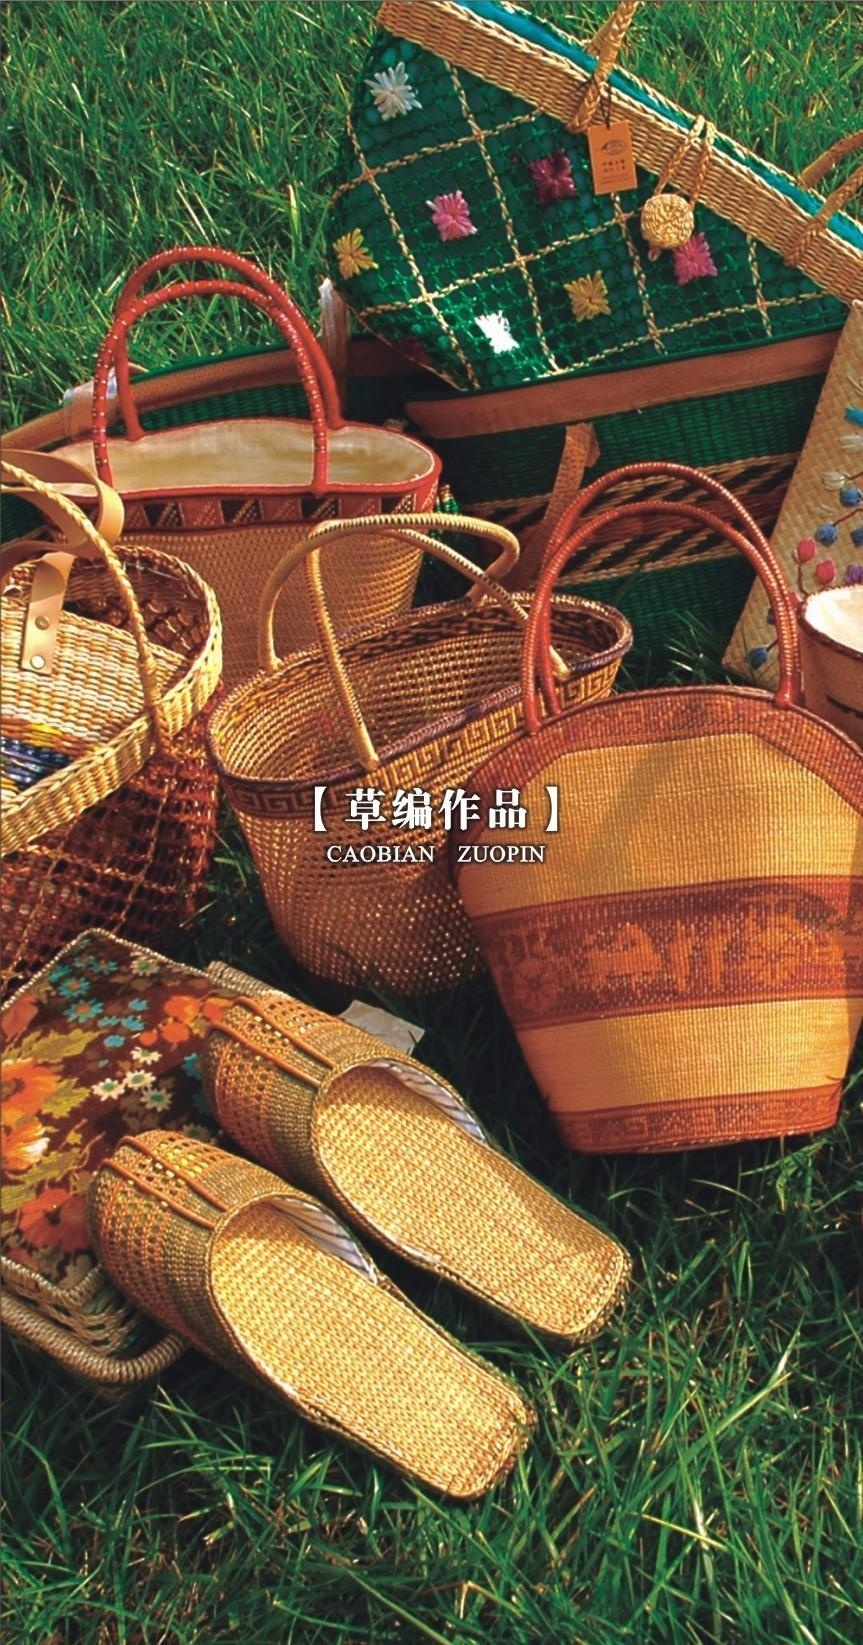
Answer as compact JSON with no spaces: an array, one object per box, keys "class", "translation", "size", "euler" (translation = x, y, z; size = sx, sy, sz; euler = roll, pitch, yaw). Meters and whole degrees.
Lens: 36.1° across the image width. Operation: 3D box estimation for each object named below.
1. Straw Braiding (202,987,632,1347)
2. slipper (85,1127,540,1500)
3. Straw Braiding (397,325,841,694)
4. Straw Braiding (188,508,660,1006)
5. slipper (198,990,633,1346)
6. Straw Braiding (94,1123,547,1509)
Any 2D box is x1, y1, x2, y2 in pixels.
[{"class":"Straw Braiding","translation":[-0.049,0.279,1.116],"size":[0.443,0.110,0.177],"euler":[39,56,20]},{"class":"slipper","translation":[-0.113,0.365,1.008],"size":[0.378,0.095,0.182],"euler":[32,43,18]},{"class":"Straw Braiding","translation":[0.268,-0.388,1.660],"size":[0.407,0.312,0.348],"euler":[-21,15,6]},{"class":"Straw Braiding","translation":[-0.025,-0.051,1.230],"size":[0.358,0.340,0.179],"euler":[-41,46,-22]},{"class":"slipper","translation":[-0.049,0.279,1.114],"size":[0.440,0.111,0.178],"euler":[39,56,18]},{"class":"Straw Braiding","translation":[-0.109,0.392,1.022],"size":[0.384,0.096,0.180],"euler":[32,45,18]}]
